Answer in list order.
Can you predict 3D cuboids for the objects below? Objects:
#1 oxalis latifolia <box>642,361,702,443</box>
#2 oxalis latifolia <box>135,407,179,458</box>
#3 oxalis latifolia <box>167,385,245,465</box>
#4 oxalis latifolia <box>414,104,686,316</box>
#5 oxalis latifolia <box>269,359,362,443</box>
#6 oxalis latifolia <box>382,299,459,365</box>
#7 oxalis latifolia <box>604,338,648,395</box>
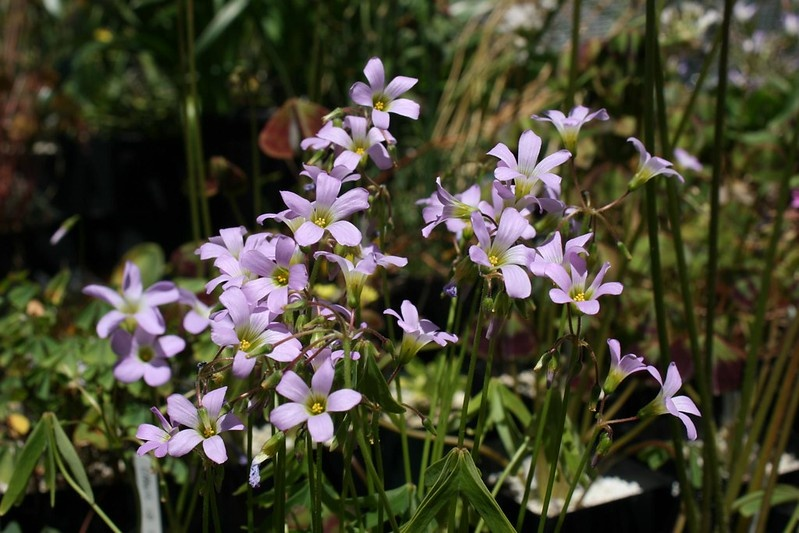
[{"bbox_3d":[0.398,0.184,1.253,0.080,0.105,0.091,4,8,22],"label":"oxalis latifolia"},{"bbox_3d":[-0.357,0.253,1.253,0.065,0.081,0.037,-19,-36,15],"label":"oxalis latifolia"},{"bbox_3d":[-0.275,0.225,1.224,0.106,0.054,0.135,20,30,-13],"label":"oxalis latifolia"},{"bbox_3d":[0.199,-0.131,1.348,0.281,0.360,0.133,-18,-30,17],"label":"oxalis latifolia"},{"bbox_3d":[-0.121,0.198,1.175,0.117,0.059,0.123,-27,51,-38],"label":"oxalis latifolia"},{"bbox_3d":[0.017,0.102,1.239,0.107,0.071,0.092,31,1,3],"label":"oxalis latifolia"},{"bbox_3d":[0.333,0.149,1.274,0.059,0.109,0.138,2,8,11],"label":"oxalis latifolia"}]
